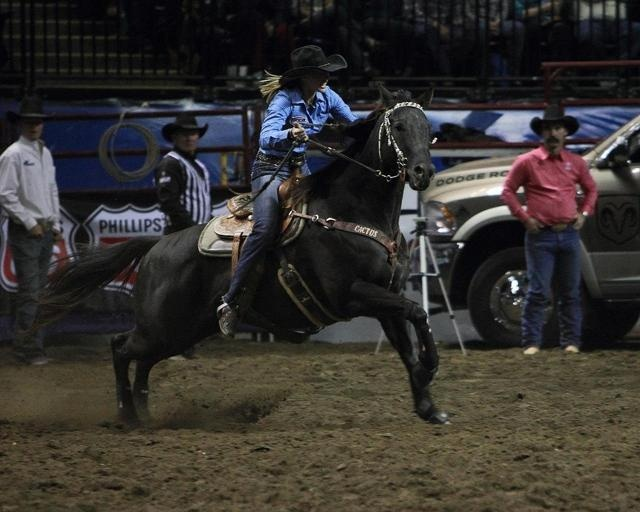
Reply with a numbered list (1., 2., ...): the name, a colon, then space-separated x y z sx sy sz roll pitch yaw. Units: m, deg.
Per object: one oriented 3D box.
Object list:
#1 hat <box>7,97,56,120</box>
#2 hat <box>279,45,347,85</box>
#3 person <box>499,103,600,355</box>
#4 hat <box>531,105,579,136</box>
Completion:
1. hat: -3.224 -1.655 9.732 0.480 0.144 0.472 1 3 24
2. hat: -0.049 -1.527 6.732 0.486 0.284 0.356 -2 6 5
3. person: 2.402 -0.281 8.914 0.960 2.546 0.563 -5 8 1
4. hat: 2.490 -1.427 9.136 0.469 0.147 0.436 0 -20 9
